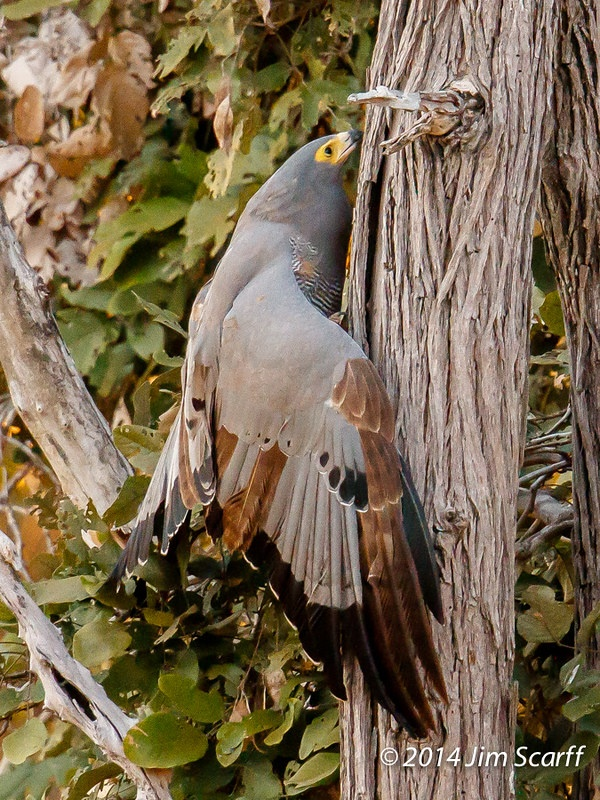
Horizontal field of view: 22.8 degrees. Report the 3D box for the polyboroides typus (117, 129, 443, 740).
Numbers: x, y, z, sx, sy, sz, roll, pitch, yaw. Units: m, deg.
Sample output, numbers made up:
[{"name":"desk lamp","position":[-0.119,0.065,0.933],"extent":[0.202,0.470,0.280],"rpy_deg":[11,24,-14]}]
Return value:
[{"name":"polyboroides typus","position":[-0.021,0.077,2.245],"extent":[0.364,0.976,0.800],"rpy_deg":[-9,12,-22]}]
